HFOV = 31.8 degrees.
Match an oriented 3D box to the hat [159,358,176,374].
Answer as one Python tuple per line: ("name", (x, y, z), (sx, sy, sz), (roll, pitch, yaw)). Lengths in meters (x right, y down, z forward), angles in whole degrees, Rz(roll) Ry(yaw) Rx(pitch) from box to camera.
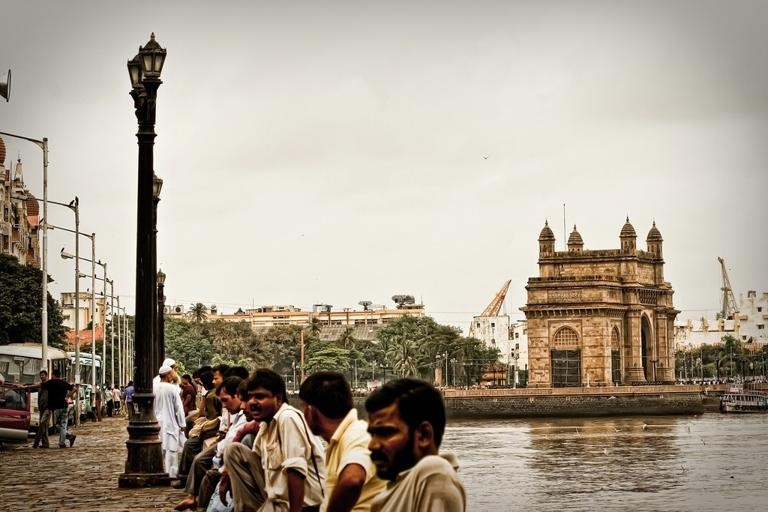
("hat", (-6.842, 3.527, 41.942), (0.389, 0.502, 0.265), (13, 22, -2))
